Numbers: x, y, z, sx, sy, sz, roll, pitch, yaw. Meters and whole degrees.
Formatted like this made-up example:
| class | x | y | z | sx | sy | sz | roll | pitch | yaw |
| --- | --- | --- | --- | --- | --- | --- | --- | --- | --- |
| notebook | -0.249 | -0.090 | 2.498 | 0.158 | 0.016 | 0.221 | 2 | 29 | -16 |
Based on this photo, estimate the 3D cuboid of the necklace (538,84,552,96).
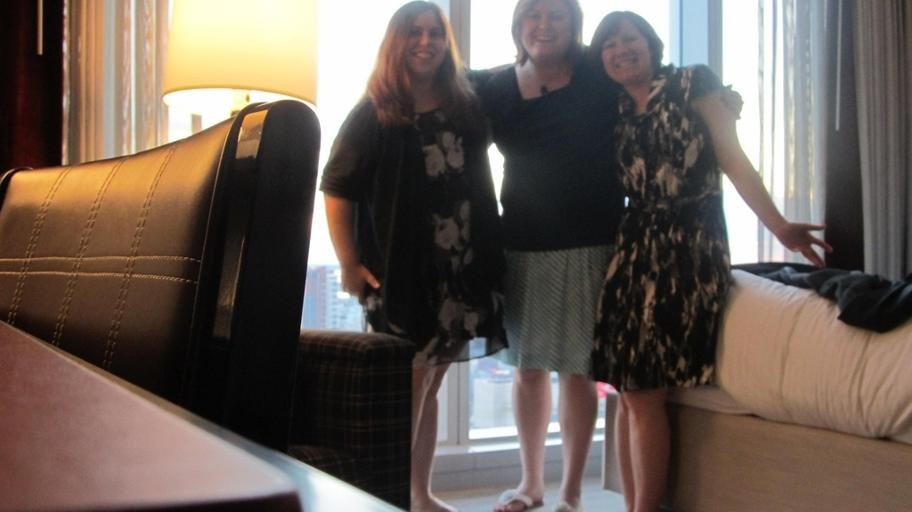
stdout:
| class | x | y | z | sx | sy | sz | roll | pitch | yaw |
| --- | --- | --- | --- | --- | --- | --- | --- | --- | --- |
| necklace | 0.375 | -0.698 | 2.869 | 0.047 | 0.044 | 0.011 | 2 | -8 | 3 |
